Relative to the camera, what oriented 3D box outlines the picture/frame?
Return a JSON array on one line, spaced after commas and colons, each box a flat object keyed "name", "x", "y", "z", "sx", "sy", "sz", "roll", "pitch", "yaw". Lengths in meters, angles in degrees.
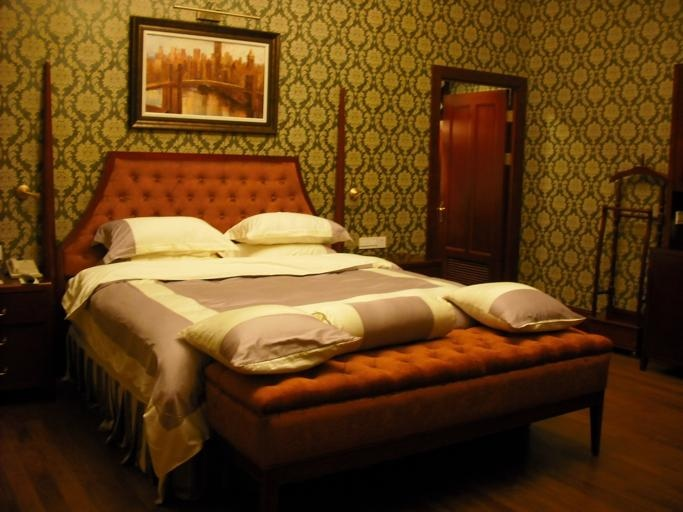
[{"name": "picture/frame", "x": -1.152, "y": -1.474, "z": 4.252, "sx": 1.141, "sy": 0.781, "sz": 0.049, "roll": -1, "pitch": 4, "yaw": -28}]
